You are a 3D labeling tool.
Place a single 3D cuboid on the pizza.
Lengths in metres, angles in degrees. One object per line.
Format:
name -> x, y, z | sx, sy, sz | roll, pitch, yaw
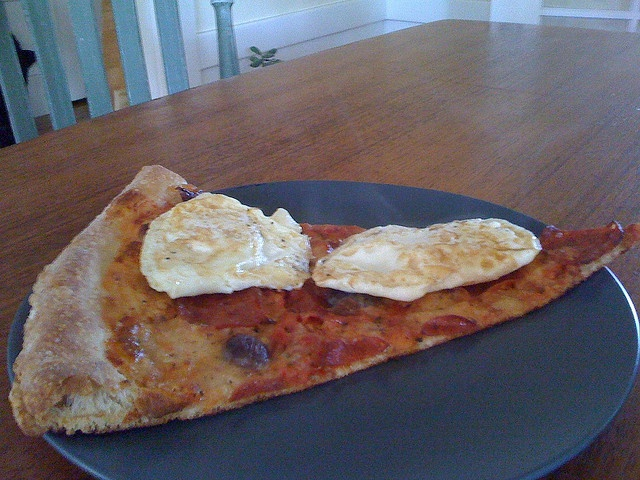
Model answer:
pizza -> 0.017, 0.031, 0.361 | 0.417, 0.043, 0.171 | -2, 34, -1
